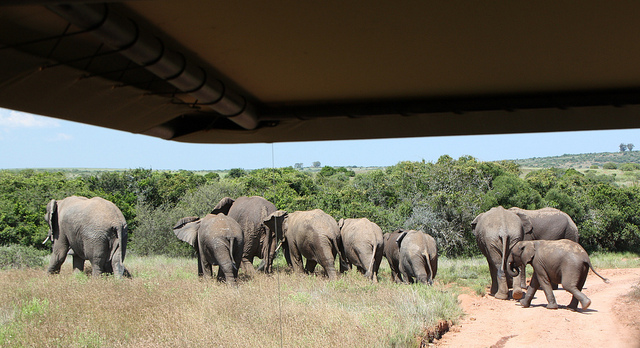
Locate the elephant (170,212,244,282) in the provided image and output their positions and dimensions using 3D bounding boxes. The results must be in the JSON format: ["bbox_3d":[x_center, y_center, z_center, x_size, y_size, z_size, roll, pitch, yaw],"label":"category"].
[{"bbox_3d":[-3.819,2.546,17.078,2.740,2.317,1.035,-5,-7,40],"label":"elephant"}]

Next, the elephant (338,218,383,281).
[{"bbox_3d":[1.281,2.971,19.119,1.599,2.429,4.039,1,-4,-20],"label":"elephant"}]

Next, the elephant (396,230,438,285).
[{"bbox_3d":[3.237,2.783,16.159,1.197,1.754,1.164,-2,-6,17],"label":"elephant"}]

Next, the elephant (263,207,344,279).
[{"bbox_3d":[-0.527,2.800,19.298,2.432,2.708,4.620,-1,-1,-34],"label":"elephant"}]

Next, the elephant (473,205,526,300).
[{"bbox_3d":[6.600,2.797,17.767,1.742,3.141,5.303,-4,-7,15],"label":"elephant"}]

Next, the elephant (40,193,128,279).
[{"bbox_3d":[-9.180,2.493,18.617,5.070,3.035,2.182,1,-1,31],"label":"elephant"}]

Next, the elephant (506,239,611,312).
[{"bbox_3d":[6.943,2.990,14.400,1.055,2.114,2.768,12,-14,-42],"label":"elephant"}]
